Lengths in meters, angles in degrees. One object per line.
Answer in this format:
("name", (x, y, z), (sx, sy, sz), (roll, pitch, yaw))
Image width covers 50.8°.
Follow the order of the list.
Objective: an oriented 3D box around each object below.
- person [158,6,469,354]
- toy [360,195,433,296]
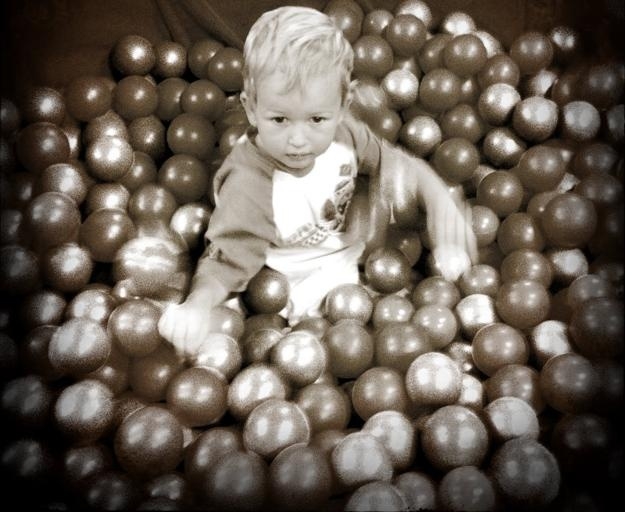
("person", (0.014, -0.169, 1.716), (0.715, 0.881, 0.600), (-10, 74, -2))
("toy", (0.224, -0.010, 1.818), (0.116, 0.122, 0.301), (12, 45, 15))
